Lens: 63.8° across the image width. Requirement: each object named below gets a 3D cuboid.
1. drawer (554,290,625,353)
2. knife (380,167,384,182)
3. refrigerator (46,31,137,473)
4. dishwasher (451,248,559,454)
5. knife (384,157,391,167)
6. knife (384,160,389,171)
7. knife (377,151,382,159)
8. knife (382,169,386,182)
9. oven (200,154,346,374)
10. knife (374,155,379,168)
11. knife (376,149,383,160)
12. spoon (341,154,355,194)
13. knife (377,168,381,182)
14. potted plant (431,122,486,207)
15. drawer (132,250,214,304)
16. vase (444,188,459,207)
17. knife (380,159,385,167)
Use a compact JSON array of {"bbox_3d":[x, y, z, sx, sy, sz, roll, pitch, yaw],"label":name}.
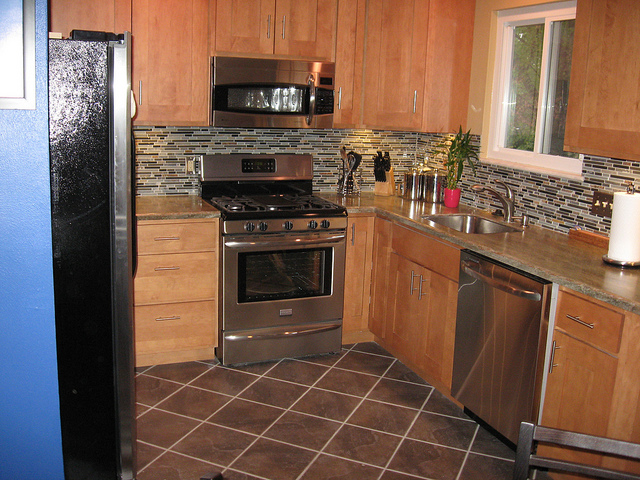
[{"bbox_3d":[1.331,0.376,2.461,0.241,0.223,0.372,-3,14,-26],"label":"drawer"},{"bbox_3d":[0.509,-0.550,4.336,0.013,0.071,0.011,-15,-3,38],"label":"knife"},{"bbox_3d":[-0.811,0.101,1.893,0.280,1.651,0.268,-3,15,-19],"label":"refrigerator"},{"bbox_3d":[0.885,0.671,3.042,0.622,0.919,0.482,20,-21,-18],"label":"dishwasher"},{"bbox_3d":[0.551,-0.658,4.325,0.046,0.065,0.027,4,15,7],"label":"knife"},{"bbox_3d":[0.547,-0.622,4.319,0.017,0.066,0.068,-2,3,-35],"label":"knife"},{"bbox_3d":[0.497,-0.721,4.363,0.012,0.042,0.043,3,0,-45],"label":"knife"},{"bbox_3d":[0.528,-0.545,4.334,0.033,0.093,0.009,5,15,12],"label":"knife"},{"bbox_3d":[-0.366,0.078,3.981,1.094,1.452,0.922,-7,15,-39],"label":"oven"},{"bbox_3d":[0.471,-0.664,4.377,0.030,0.107,0.021,-5,10,1],"label":"knife"},{"bbox_3d":[0.497,-0.721,4.384,0.021,0.079,0.075,-5,7,2],"label":"knife"},{"bbox_3d":[0.226,-0.579,4.336,0.061,0.269,0.047,16,10,20],"label":"spoon"},{"bbox_3d":[0.489,-0.555,4.351,0.033,0.099,0.006,13,18,34],"label":"knife"},{"bbox_3d":[1.056,-0.582,4.005,0.372,0.620,0.269,1,15,-5],"label":"potted plant"},{"bbox_3d":[-0.955,0.275,3.679,0.613,0.374,0.353,-4,-12,14],"label":"drawer"},{"bbox_3d":[1.008,-0.326,3.998,0.125,0.135,0.127,4,12,17],"label":"vase"},{"bbox_3d":[0.512,-0.648,4.331,0.041,0.057,0.014,4,-3,19],"label":"knife"}]
